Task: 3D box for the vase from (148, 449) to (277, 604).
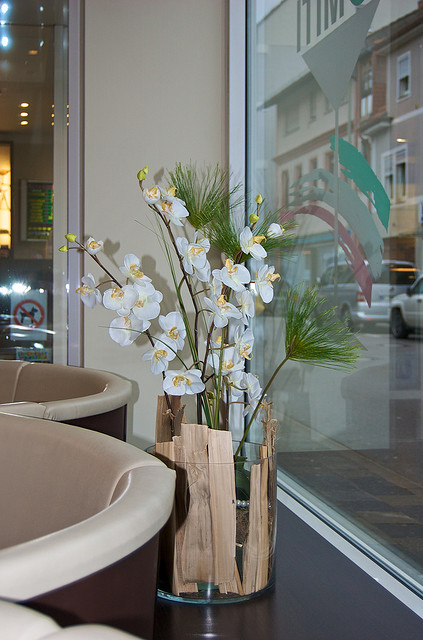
[{"bbox_3d":[0.029,0.440,1.274,0.272,0.348,0.286,1,-10,-15],"label":"vase"}]
